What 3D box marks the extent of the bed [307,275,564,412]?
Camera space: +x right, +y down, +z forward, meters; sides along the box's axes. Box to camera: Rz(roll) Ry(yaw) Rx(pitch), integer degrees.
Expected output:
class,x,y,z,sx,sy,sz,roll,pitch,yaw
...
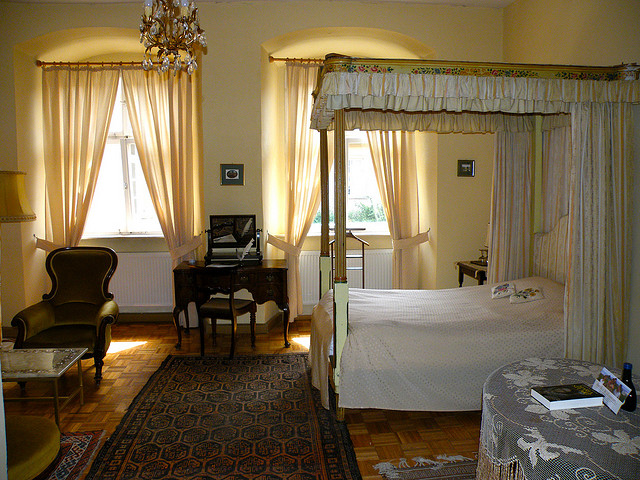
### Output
class,x,y,z,sx,sy,sz,roll,pitch,yaw
bed,1.092,0.915,4.781,1.880,0.859,1.299,0,8,1

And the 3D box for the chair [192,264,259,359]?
class,x,y,z,sx,sy,sz,roll,pitch,yaw
chair,-1.176,0.810,6.090,0.593,1.123,0.714,2,7,17

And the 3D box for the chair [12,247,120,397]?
class,x,y,z,sx,sy,sz,roll,pitch,yaw
chair,-2.634,0.758,5.350,1.005,1.454,1.028,2,-3,-30

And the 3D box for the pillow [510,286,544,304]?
class,x,y,z,sx,sy,sz,roll,pitch,yaw
pillow,2.011,0.545,4.970,0.216,0.040,0.175,-8,9,10
